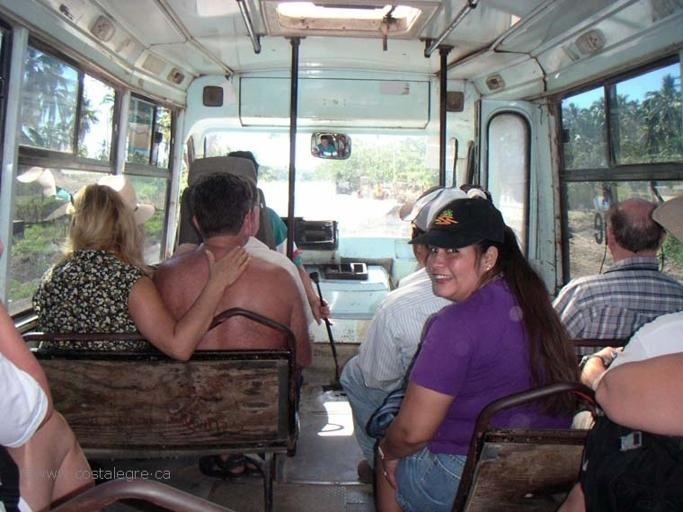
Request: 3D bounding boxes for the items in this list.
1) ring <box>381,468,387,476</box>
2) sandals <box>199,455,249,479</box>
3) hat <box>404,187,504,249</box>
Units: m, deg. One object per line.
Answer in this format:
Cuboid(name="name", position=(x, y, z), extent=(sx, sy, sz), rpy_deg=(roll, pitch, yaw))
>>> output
Cuboid(name="ring", position=(0.222, 1.113, 2.640), extent=(0.025, 0.038, 0.032), rpy_deg=(-10, -3, -6))
Cuboid(name="sandals", position=(-0.731, 1.307, 3.179), extent=(0.237, 0.134, 0.194), rpy_deg=(4, -4, -3))
Cuboid(name="hat", position=(0.542, -0.170, 2.361), extent=(0.346, 0.192, 0.223), rpy_deg=(0, 5, -9))
